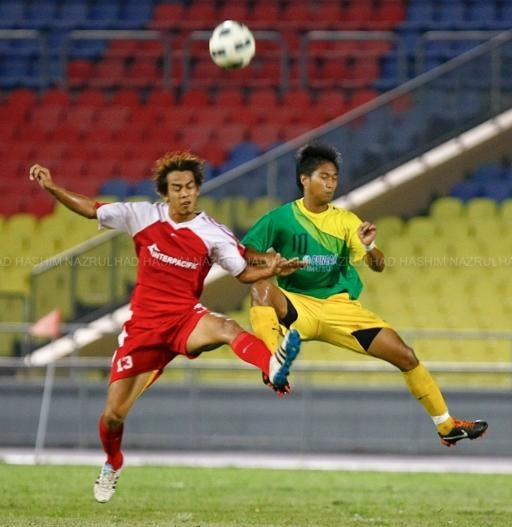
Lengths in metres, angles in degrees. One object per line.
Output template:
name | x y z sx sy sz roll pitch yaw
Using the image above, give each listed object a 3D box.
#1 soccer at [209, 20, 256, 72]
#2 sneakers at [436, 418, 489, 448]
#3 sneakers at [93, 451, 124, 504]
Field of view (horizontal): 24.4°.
soccer | -0.253 -2.304 12.323 0.427 0.697 0.509 -7 -16 4
sneakers | 1.679 1.401 9.944 0.525 0.161 0.238 -16 -54 28
sneakers | -1.221 1.799 9.861 0.175 0.415 0.178 15 -48 -1
